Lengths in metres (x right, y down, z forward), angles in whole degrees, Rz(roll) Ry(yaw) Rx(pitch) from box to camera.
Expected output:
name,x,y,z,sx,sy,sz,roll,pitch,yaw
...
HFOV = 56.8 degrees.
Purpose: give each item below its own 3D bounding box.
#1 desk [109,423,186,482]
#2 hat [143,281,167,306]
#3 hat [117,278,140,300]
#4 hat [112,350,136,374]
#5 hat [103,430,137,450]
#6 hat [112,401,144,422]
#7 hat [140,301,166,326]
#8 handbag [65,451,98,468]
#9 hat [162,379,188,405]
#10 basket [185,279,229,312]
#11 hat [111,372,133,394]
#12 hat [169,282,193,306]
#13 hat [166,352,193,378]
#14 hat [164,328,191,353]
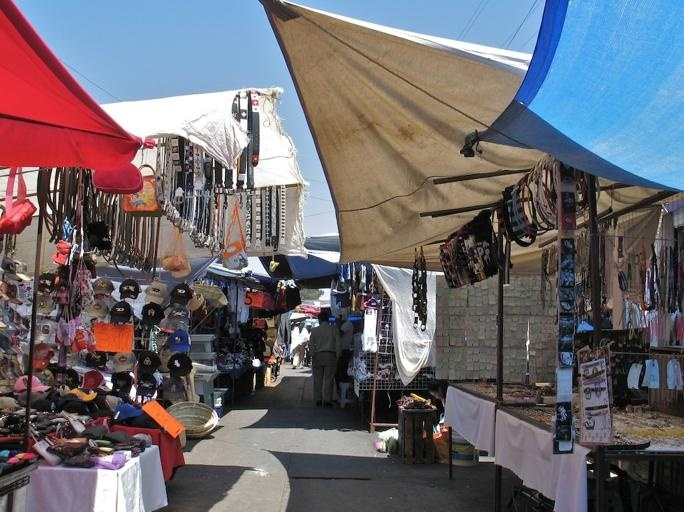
name,x,y,z,sx,sy,sz,roll,pitch,yaw
desk,-1.741,1.754,5.822,0.600,0.469,0.627,3,-7,-5
hat,-1.939,0.398,6.591,0.184,0.127,0.280,11,36,-10
hat,-2.169,0.334,6.440,0.184,0.212,0.274,3,-4,-24
hat,-2.170,1.057,6.299,0.214,0.217,0.193,2,-4,-18
hat,-1.789,1.470,5.090,0.142,0.051,0.132,18,-4,16
hat,-1.926,1.411,5.701,0.253,0.148,0.126,2,-4,-16
hat,-1.918,0.564,6.423,0.193,0.236,0.220,3,9,-7
handbag,-1.920,1.484,4.613,0.137,0.063,0.112,2,-7,-9
hat,-1.850,1.459,6.948,0.200,0.286,0.321,4,-5,-35
basket,-1.850,0.470,8.725,0.549,0.189,0.419,21,-30,-34
hat,-2.179,1.269,6.297,0.174,0.257,0.217,4,-14,-1
hat,-1.742,0.413,6.852,0.233,0.239,0.190,2,-4,-15
hat,-1.746,1.159,6.757,0.248,0.282,0.218,2,-4,-9
hat,-1.760,0.908,6.775,0.237,0.252,0.290,2,-4,-17
